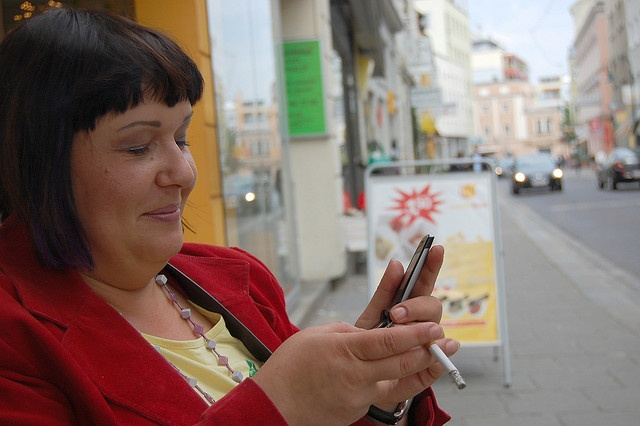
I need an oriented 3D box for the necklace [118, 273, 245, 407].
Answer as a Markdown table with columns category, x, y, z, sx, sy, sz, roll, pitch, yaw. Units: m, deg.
| category | x | y | z | sx | sy | sz | roll | pitch | yaw |
| --- | --- | --- | --- | --- | --- | --- | --- | --- | --- |
| necklace | -0.409 | 0.379 | 1.581 | 0.124 | 0.392 | 0.280 | -48 | -19 | 30 |
